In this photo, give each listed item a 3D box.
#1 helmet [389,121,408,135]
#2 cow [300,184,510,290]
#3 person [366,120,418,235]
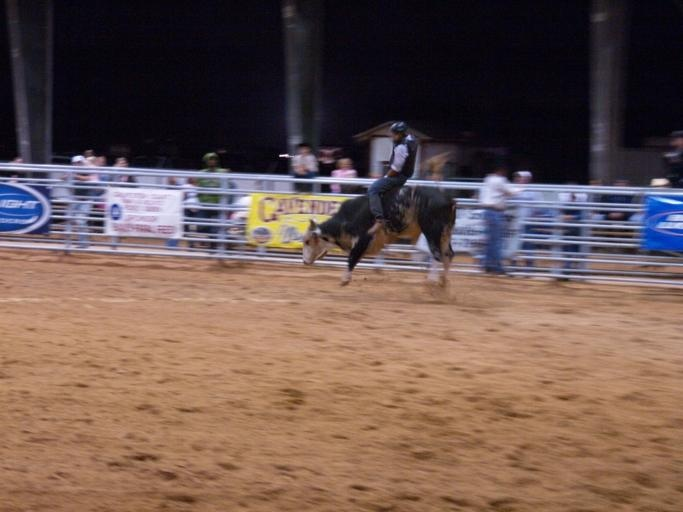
[{"bbox_3d":[0.830,-1.829,9.826,0.221,0.169,0.247,2,11,0],"label":"helmet"},{"bbox_3d":[0.581,-0.333,10.034,2.141,1.416,0.610,8,15,29],"label":"cow"},{"bbox_3d":[0.747,-1.107,9.931,0.702,1.616,0.410,0,15,-11],"label":"person"}]
